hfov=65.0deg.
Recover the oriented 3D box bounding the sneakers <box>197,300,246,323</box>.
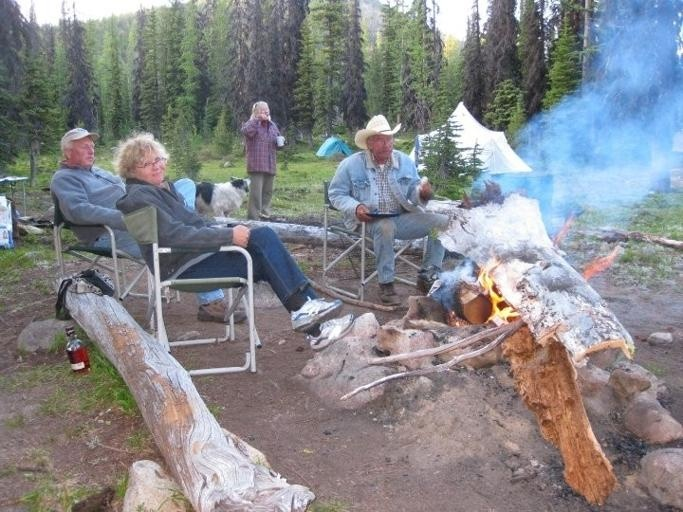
[{"bbox_3d":[-1.060,0.515,4.893,0.493,0.244,0.190,-1,1,3],"label":"sneakers"}]

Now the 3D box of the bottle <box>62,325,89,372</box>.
[{"bbox_3d":[-1.972,0.675,3.986,0.140,0.305,0.260,-11,21,-28],"label":"bottle"}]

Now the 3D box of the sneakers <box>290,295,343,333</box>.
[{"bbox_3d":[-0.208,0.419,3.962,0.441,0.203,0.169,-30,-19,5],"label":"sneakers"}]

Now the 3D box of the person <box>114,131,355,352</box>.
[{"bbox_3d":[-0.860,-0.192,4.124,1.483,1.707,0.774,-9,5,4],"label":"person"}]

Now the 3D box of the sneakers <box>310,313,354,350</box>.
[{"bbox_3d":[-0.074,0.551,3.972,0.343,0.160,0.192,-38,2,10],"label":"sneakers"}]

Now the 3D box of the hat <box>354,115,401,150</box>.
[{"bbox_3d":[0.318,-1.268,5.491,0.360,0.175,0.404,-13,-14,-33],"label":"hat"}]

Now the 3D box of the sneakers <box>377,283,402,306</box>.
[{"bbox_3d":[0.467,0.373,5.210,0.210,0.207,0.160,1,19,6],"label":"sneakers"}]

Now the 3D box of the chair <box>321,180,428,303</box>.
[{"bbox_3d":[0.348,-0.217,5.746,1.095,1.349,1.202,6,5,13],"label":"chair"}]

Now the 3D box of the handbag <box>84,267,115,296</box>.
[{"bbox_3d":[-2.085,0.222,4.606,0.177,0.072,0.161,39,3,-2],"label":"handbag"}]

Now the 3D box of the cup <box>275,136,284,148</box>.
[{"bbox_3d":[-1.038,-1.954,9.131,0.115,0.202,0.188,0,4,3],"label":"cup"}]
